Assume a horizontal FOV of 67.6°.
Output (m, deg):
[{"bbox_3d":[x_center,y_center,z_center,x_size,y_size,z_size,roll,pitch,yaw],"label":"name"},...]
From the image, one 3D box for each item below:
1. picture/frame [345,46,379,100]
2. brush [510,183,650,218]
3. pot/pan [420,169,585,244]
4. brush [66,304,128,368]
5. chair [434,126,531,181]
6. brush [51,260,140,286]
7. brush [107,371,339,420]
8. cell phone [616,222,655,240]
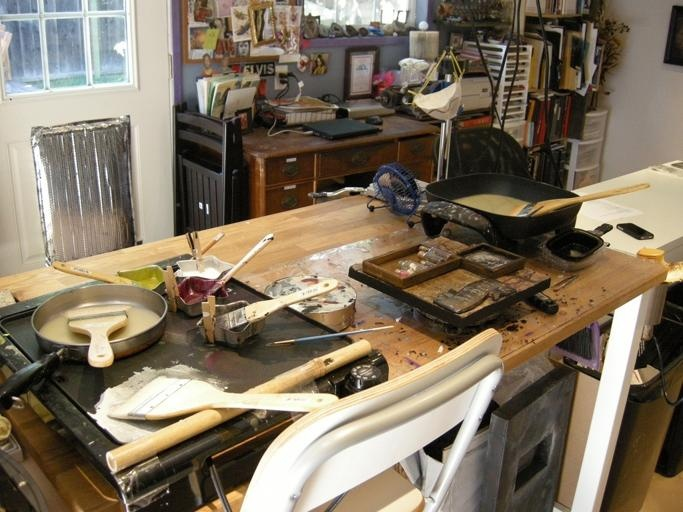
[{"bbox_3d":[0.147,-1.387,3.816,0.469,0.410,0.032,-14,32,-32],"label":"picture/frame"},{"bbox_3d":[0.694,-0.183,1.524,0.329,0.106,0.237,3,20,12],"label":"brush"},{"bbox_3d":[0.553,-0.165,1.675,0.342,0.090,0.363,-20,33,-32],"label":"pot/pan"},{"bbox_3d":[-0.479,0.159,1.009,0.114,0.018,0.175,-8,35,-23],"label":"brush"},{"bbox_3d":[0.680,-0.517,2.577,0.471,0.174,0.360,21,44,30],"label":"chair"},{"bbox_3d":[-0.625,0.045,1.296,0.229,0.014,0.030,11,20,-40],"label":"brush"},{"bbox_3d":[-0.219,0.247,0.871,0.433,0.014,0.125,2,14,11],"label":"brush"},{"bbox_3d":[1.252,-0.106,2.163,0.073,0.020,0.111,-9,21,-18],"label":"cell phone"}]
